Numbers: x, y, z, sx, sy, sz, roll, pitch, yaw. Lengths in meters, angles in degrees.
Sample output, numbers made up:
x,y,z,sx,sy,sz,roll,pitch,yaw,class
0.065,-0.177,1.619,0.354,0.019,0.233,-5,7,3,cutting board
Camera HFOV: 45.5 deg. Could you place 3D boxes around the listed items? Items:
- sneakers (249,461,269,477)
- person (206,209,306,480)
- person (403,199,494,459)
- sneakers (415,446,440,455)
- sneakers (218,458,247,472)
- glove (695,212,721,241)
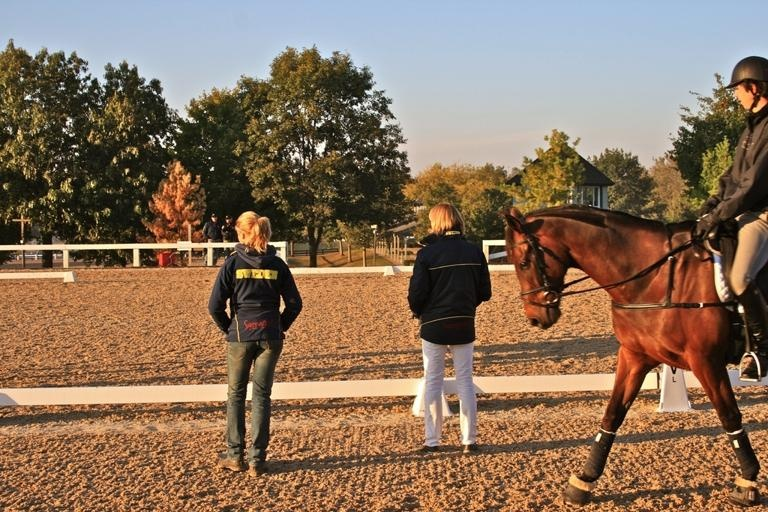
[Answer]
x,y,z,sx,sy,sz,roll,pitch,yaw,class
-1.739,2.933,12.594,0.118,0.227,0.343,4,16,16,sneakers
-1.800,1.202,12.692,1.178,3.602,0.456,-3,4,-11,person
0.925,1.017,13.031,1.086,3.520,0.404,-2,4,4,person
0.622,2.763,13.024,0.328,0.128,0.115,1,3,-2,sneakers
-2.119,2.877,12.720,0.395,0.159,0.158,10,10,19,sneakers
4.159,-0.384,11.842,0.149,0.329,0.251,20,7,-43,glove
